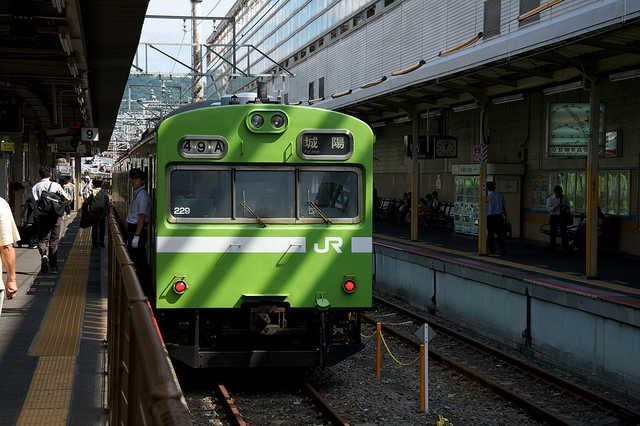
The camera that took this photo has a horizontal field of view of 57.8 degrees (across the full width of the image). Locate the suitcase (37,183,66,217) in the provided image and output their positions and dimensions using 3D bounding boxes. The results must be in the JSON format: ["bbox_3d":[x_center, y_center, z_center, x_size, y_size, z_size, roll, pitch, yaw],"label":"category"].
[{"bbox_3d":[-6.408,-0.333,13.969,0.581,0.847,0.441,11,-7,-23],"label":"suitcase"}]

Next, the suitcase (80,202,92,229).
[{"bbox_3d":[-7.696,0.081,19.106,0.312,0.751,1.202,-3,12,-23],"label":"suitcase"}]

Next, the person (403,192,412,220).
[{"bbox_3d":[4.369,-0.287,29.353,0.326,1.388,1.155,2,11,5],"label":"person"}]

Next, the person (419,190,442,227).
[{"bbox_3d":[5.360,-0.150,27.836,0.782,1.744,1.407,-2,11,-17],"label":"person"}]

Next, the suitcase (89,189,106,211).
[{"bbox_3d":[-7.022,-0.426,18.322,0.569,0.760,0.378,1,-3,-11],"label":"suitcase"}]

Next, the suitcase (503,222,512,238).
[{"bbox_3d":[7.078,0.601,21.912,0.233,0.757,1.054,5,12,22],"label":"suitcase"}]

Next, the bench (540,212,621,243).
[{"bbox_3d":[8.095,0.388,18.890,0.731,0.715,1.590,-8,3,-42],"label":"bench"}]

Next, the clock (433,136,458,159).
[{"bbox_3d":[4.922,-2.646,23.055,0.852,0.812,0.323,0,2,-5],"label":"clock"}]

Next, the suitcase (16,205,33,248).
[{"bbox_3d":[-10.415,0.575,20.389,0.522,1.093,2.573,-5,13,-28],"label":"suitcase"}]
